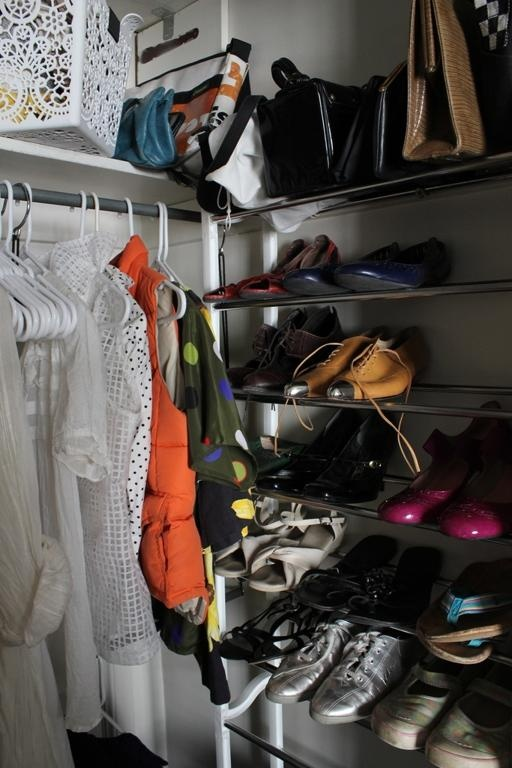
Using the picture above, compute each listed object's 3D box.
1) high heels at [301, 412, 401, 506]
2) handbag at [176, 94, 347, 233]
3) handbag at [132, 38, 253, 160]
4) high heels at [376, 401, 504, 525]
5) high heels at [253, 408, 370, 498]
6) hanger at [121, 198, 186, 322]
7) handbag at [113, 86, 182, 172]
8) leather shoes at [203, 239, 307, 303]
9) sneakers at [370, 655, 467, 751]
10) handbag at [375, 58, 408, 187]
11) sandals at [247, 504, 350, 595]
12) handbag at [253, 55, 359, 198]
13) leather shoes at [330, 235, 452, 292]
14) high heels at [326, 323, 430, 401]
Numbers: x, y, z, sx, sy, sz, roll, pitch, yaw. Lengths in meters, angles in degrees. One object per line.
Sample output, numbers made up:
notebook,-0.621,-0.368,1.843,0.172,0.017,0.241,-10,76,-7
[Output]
high heels,0.197,0.144,1.125,0.092,0.098,0.252,-4,24,37
handbag,0.017,-0.412,1.162,0.219,0.234,0.253,1,14,20
handbag,-0.186,-0.670,1.400,0.079,0.226,0.254,16,10,-4
high heels,0.363,0.140,1.046,0.098,0.098,0.431,-10,17,45
high heels,0.152,0.125,1.258,0.331,0.135,0.101,-23,2,-38
hanger,-0.213,-0.265,1.230,0.016,0.307,0.306,-10,32,-27
handbag,-0.217,-0.525,1.241,0.086,0.156,0.162,18,9,-6
leather shoes,0.037,-0.249,1.231,0.101,0.120,0.289,-5,11,38
sneakers,0.261,0.466,0.920,0.082,0.076,0.251,-6,-6,30
handbag,0.197,-0.388,0.860,0.049,0.153,0.068,2,7,13
sandals,0.099,0.330,1.243,0.118,0.093,0.257,-8,5,37
handbag,0.112,-0.496,1.062,0.121,0.196,0.202,-3,18,32
leather shoes,0.240,-0.194,0.991,0.262,0.099,0.096,-13,8,-42
high heels,0.228,-0.041,1.052,0.120,0.116,0.281,4,7,26
